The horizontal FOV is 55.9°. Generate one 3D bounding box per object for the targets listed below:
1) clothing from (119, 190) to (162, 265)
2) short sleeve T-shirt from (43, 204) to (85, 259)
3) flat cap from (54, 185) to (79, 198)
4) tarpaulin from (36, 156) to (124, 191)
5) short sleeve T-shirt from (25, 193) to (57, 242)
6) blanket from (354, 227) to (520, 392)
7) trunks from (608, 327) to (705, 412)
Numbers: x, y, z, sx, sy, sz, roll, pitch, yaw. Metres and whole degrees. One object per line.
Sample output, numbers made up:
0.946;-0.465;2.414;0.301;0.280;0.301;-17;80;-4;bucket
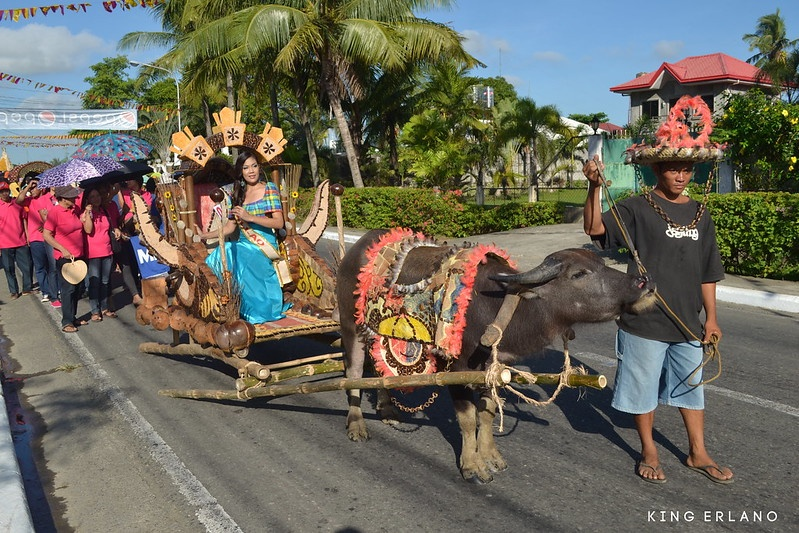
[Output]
-4.212;-0.651;12.276;0.252;1.284;0.786;-18;-18;9;clothing
-6.099;-0.676;13.750;0.517;0.996;0.925;0;4;10;short sleeve T-shirt
-6.271;-1.396;14.143;0.556;0.214;0.412;4;11;33;flat cap
-6.034;-1.674;13.752;0.925;0.259;0.947;-16;15;12;tarpaulin
-7.439;-1.144;15.561;0.576;1.101;0.846;-3;14;-29;short sleeve T-shirt
0.340;0.427;8.758;1.916;1.545;1.386;6;11;25;blanket
2.804;1.085;8.121;1.071;1.380;0.523;0;3;-6;trunks
